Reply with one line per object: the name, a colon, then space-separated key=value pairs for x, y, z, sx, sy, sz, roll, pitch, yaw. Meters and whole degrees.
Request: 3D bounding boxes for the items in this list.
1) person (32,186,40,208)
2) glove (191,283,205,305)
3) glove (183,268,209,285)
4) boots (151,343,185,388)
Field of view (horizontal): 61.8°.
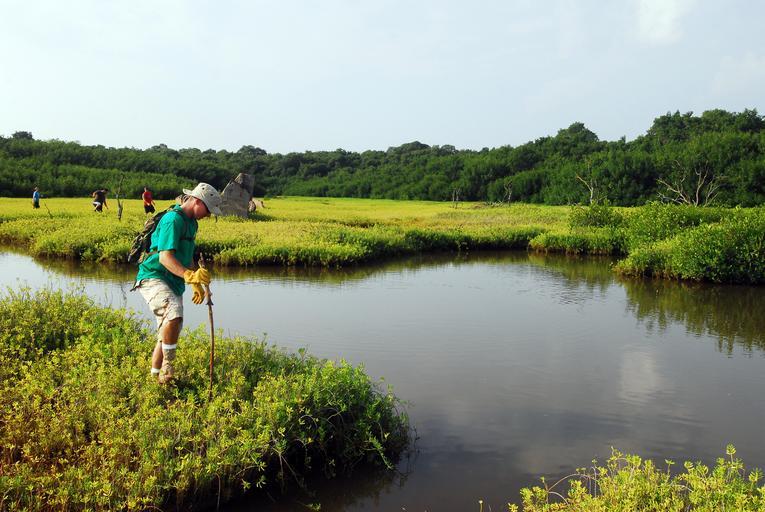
person: x=-23.213 y=-3.965 z=42.850 sx=0.312 sy=1.377 sz=2.737 roll=-4 pitch=14 yaw=-26
glove: x=-3.131 y=0.616 z=10.842 sx=0.170 sy=0.413 sz=0.331 roll=-2 pitch=12 yaw=-14
glove: x=-3.094 y=0.333 z=10.636 sx=0.533 sy=0.322 sz=0.206 roll=7 pitch=13 yaw=21
boots: x=-3.773 y=1.822 z=10.952 sx=0.426 sy=0.737 sz=0.290 roll=7 pitch=12 yaw=24
